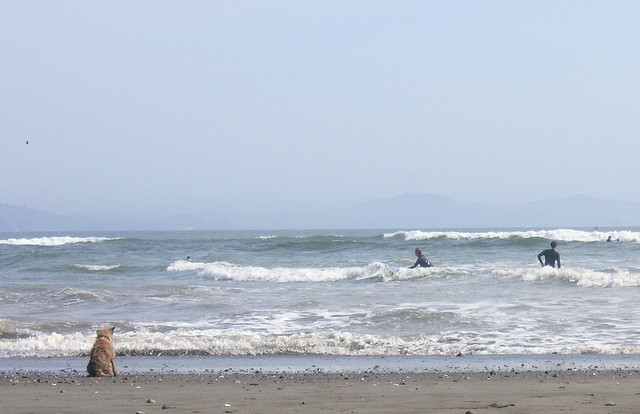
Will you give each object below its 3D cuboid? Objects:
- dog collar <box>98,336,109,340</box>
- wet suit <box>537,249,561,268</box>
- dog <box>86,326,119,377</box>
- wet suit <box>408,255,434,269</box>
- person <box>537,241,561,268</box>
[{"bbox_3d":[-7.128,4.302,34.695,0.345,0.102,0.067,1,-7,-11],"label":"dog collar"},{"bbox_3d":[10.043,2.237,46.134,0.808,0.814,1.653,-1,-6,10],"label":"wet suit"},{"bbox_3d":[-7.090,4.726,34.471,0.991,1.566,0.785,3,-7,-20],"label":"dog"},{"bbox_3d":[4.806,2.599,49.646,0.883,0.635,1.504,-1,-6,8],"label":"wet suit"},{"bbox_3d":[9.991,2.012,45.803,0.822,1.186,3.369,-1,-6,12],"label":"person"}]
